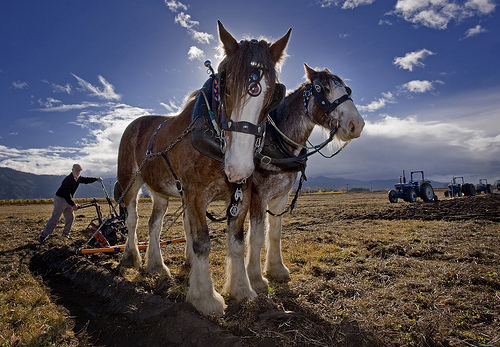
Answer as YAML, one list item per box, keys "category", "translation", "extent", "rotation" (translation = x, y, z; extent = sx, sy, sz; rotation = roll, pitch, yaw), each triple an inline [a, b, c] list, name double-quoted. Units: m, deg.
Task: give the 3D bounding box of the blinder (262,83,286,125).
- category: "blinder"
  translation: [0.410, -1.135, 4.532]
  extent: [0.272, 0.702, 0.557]
  rotation: [2, 5, 35]

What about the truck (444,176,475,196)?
- category: "truck"
  translation: [18.026, 1.312, 23.391]
  extent: [1.569, 1.809, 2.912]
  rotation: [-11, -9, 37]

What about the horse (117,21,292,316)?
- category: "horse"
  translation: [-1.555, 0.150, 5.946]
  extent: [1.593, 4.557, 5.521]
  rotation: [-4, 3, -43]

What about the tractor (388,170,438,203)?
- category: "tractor"
  translation: [12.586, 0.982, 21.436]
  extent: [3.765, 2.483, 2.034]
  rotation: [0, -5, -25]
